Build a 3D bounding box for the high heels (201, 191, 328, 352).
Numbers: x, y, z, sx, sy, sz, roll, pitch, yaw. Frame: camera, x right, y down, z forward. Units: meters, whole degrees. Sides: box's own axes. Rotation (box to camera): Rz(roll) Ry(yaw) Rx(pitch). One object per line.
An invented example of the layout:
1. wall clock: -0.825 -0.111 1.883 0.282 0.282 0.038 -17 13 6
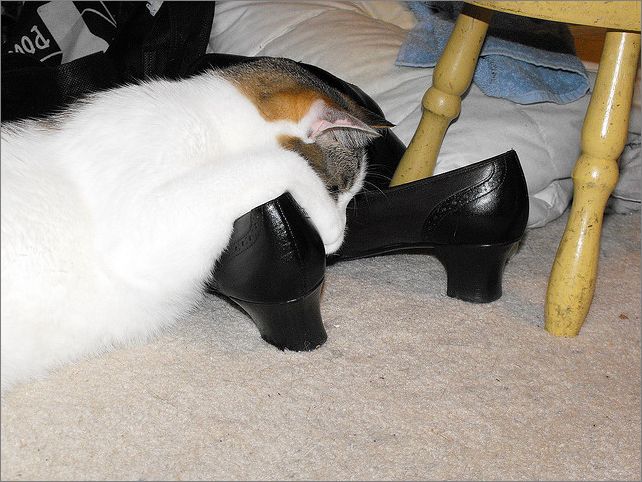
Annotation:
1. high heels: -0.110 0.015 1.124 0.163 0.217 0.434 -13 17 -14
